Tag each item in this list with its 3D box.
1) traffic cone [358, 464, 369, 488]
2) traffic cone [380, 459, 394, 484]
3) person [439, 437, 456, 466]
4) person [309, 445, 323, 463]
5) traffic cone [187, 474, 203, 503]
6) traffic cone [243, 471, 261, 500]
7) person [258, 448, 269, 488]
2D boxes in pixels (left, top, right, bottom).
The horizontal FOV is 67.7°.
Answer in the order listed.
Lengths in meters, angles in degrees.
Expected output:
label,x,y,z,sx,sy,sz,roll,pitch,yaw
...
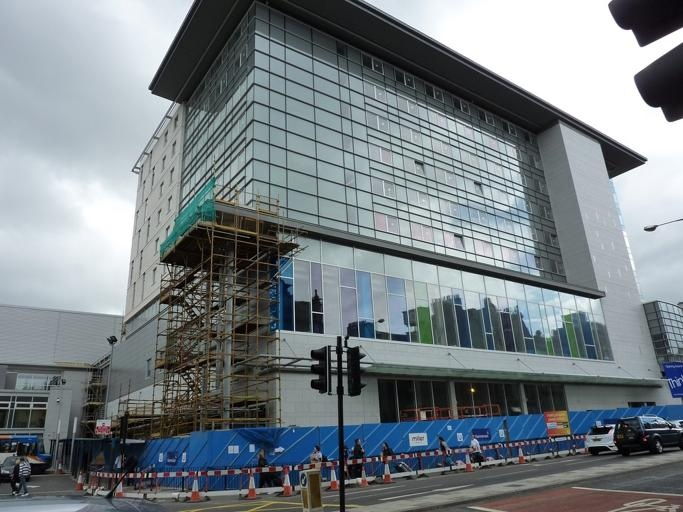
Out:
label,x,y,z,sx,sy,sz,roll,pitch,yaw
traffic cone,0.954,9.643,22.125,0.336,0.774,0.676,-3,-22,-1
traffic cone,2.069,9.921,23.171,0.832,0.935,0.836,0,-21,-1
person,5.425,10.163,26.289,0.636,1.436,1.003,-11,-23,19
person,-1.143,8.921,22.714,0.585,0.962,1.024,-1,-13,5
traffic cone,-5.641,9.028,19.784,0.405,1.012,1.047,3,-22,-15
traffic cone,-3.593,9.164,20.347,0.389,1.004,1.231,1,-22,-10
person,-3.392,9.274,22.198,0.463,1.551,1.366,1,-22,-9
